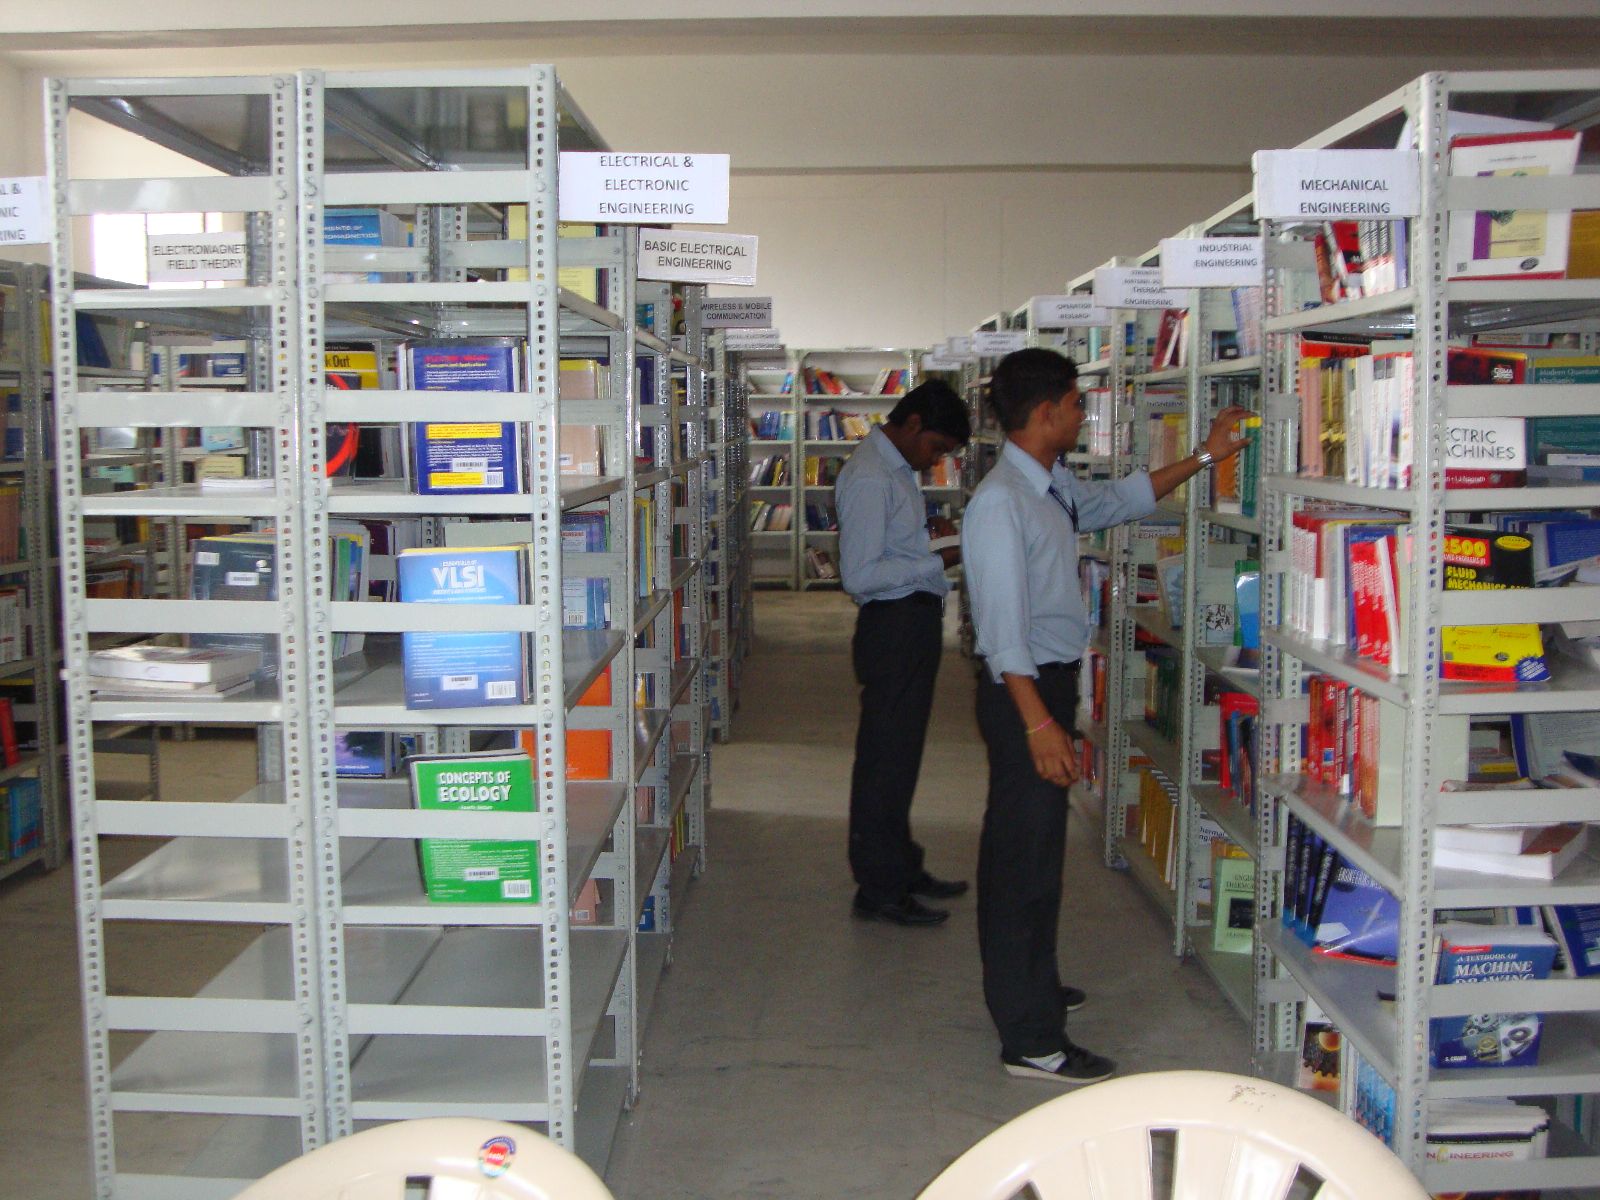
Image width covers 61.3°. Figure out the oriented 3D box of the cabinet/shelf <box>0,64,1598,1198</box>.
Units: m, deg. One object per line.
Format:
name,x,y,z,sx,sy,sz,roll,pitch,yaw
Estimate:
cabinet/shelf,-0.469,0.090,3.998,3.328,2.444,3.305,0,5,-5
